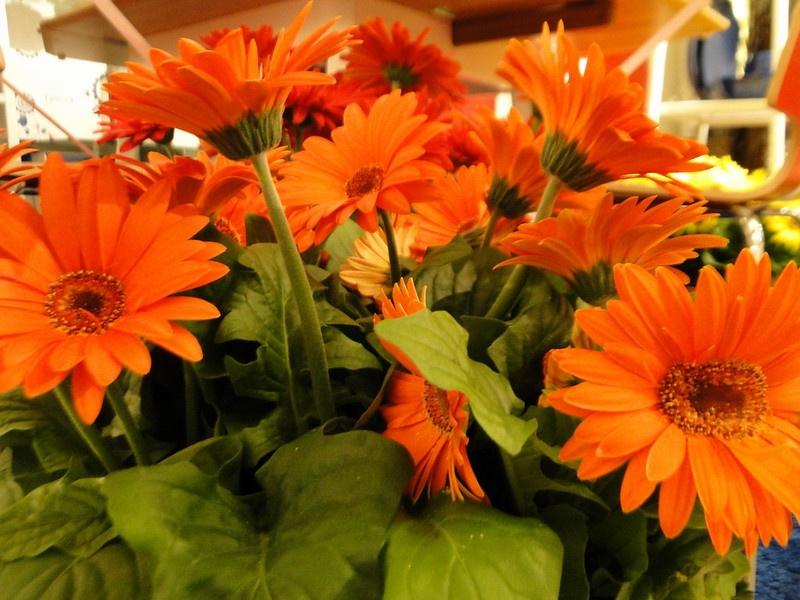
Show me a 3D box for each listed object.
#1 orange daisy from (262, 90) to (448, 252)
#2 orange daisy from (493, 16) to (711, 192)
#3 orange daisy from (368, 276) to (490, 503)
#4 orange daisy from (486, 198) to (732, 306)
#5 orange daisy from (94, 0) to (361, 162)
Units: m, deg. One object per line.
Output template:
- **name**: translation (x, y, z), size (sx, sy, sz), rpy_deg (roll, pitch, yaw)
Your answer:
- **orange daisy**: translation (-0.033, -0.098, 0.463), size (0.135, 0.041, 0.111), rpy_deg (-22, -25, -28)
- **orange daisy**: translation (0.117, -0.113, 0.372), size (0.120, 0.096, 0.048), rpy_deg (3, 0, 24)
- **orange daisy**: translation (0.029, 0.057, 0.373), size (0.114, 0.111, 0.046), rpy_deg (-16, -22, 38)
- **orange daisy**: translation (0.133, -0.020, 0.407), size (0.122, 0.051, 0.124), rpy_deg (10, -15, -33)
- **orange daisy**: translation (-0.094, -0.096, 0.366), size (0.108, 0.048, 0.105), rpy_deg (-13, 7, -12)
